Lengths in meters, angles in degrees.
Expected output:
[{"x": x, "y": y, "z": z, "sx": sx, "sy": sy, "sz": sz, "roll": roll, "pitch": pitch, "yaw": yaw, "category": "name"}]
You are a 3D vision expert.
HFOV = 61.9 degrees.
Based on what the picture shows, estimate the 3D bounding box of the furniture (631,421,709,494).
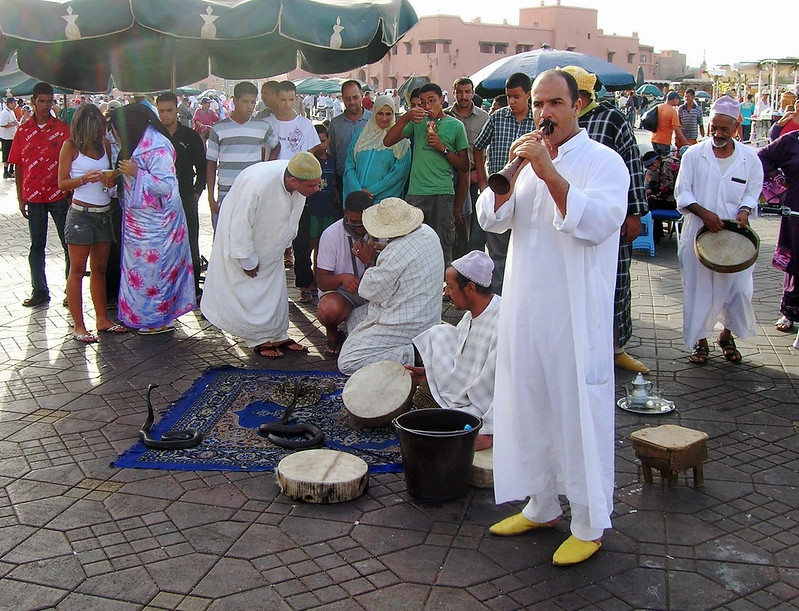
[{"x": 1.777, "y": 1.005, "z": 4.363, "sx": 0.434, "sy": 0.256, "sz": 0.427, "roll": -7, "pitch": 4, "yaw": -11, "category": "furniture"}]

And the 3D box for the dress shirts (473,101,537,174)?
[{"x": 0.989, "y": -1.903, "z": 7.607, "sx": 0.337, "sy": 0.731, "sz": 0.831, "roll": 21, "pitch": 16, "yaw": -13, "category": "dress shirts"}]

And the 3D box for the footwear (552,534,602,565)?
[{"x": 0.950, "y": 1.350, "z": 3.629, "sx": 0.283, "sy": 0.086, "sz": 0.120, "roll": -18, "pitch": 24, "yaw": -21, "category": "footwear"}]

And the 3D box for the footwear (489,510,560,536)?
[{"x": 0.747, "y": 1.295, "z": 3.926, "sx": 0.447, "sy": 0.100, "sz": 0.140, "roll": -1, "pitch": 1, "yaw": -9, "category": "footwear"}]

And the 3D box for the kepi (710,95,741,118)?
[{"x": 3.039, "y": -1.854, "z": 6.198, "sx": 0.233, "sy": 0.156, "sz": 0.280, "roll": 5, "pitch": 23, "yaw": 12, "category": "kepi"}]

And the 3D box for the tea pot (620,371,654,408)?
[{"x": 1.940, "y": 0.692, "z": 5.421, "sx": 0.336, "sy": 0.257, "sz": 0.198, "roll": -6, "pitch": 17, "yaw": -19, "category": "tea pot"}]

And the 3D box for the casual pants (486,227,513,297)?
[{"x": 1.035, "y": -0.500, "z": 7.359, "sx": 0.373, "sy": 0.307, "sz": 0.972, "roll": 7, "pitch": 58, "yaw": 3, "category": "casual pants"}]

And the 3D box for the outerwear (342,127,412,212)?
[{"x": -0.249, "y": -1.561, "z": 7.632, "sx": 0.784, "sy": 0.859, "sz": 0.535, "roll": 17, "pitch": 34, "yaw": 27, "category": "outerwear"}]

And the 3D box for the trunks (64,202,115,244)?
[{"x": -3.270, "y": -0.838, "z": 6.930, "sx": 0.414, "sy": 0.382, "sz": 0.503, "roll": 3, "pitch": 8, "yaw": 26, "category": "trunks"}]

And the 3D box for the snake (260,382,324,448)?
[{"x": -0.808, "y": 0.789, "z": 5.068, "sx": 0.493, "sy": 0.117, "sz": 0.696, "roll": 15, "pitch": 45, "yaw": -12, "category": "snake"}]

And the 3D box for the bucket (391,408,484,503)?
[{"x": 0.239, "y": 0.971, "z": 4.324, "sx": 0.587, "sy": 0.437, "sz": 0.601, "roll": 0, "pitch": 8, "yaw": 0, "category": "bucket"}]

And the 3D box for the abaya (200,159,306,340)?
[{"x": -1.477, "y": -0.494, "z": 6.532, "sx": 0.740, "sy": 1.738, "sz": 0.725, "roll": 11, "pitch": 21, "yaw": 33, "category": "abaya"}]

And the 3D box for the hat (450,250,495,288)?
[{"x": 0.565, "y": -0.271, "z": 4.879, "sx": 0.206, "sy": 0.239, "sz": 0.310, "roll": 40, "pitch": 3, "yaw": 13, "category": "hat"}]

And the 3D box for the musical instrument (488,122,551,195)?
[{"x": 0.646, "y": -0.811, "z": 3.653, "sx": 0.159, "sy": 0.146, "sz": 0.638, "roll": 43, "pitch": 44, "yaw": 0, "category": "musical instrument"}]

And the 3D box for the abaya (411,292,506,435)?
[{"x": 0.408, "y": 0.445, "z": 4.732, "sx": 0.588, "sy": 0.781, "sz": 0.819, "roll": -8, "pitch": 32, "yaw": -28, "category": "abaya"}]

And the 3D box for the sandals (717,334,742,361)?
[{"x": 3.151, "y": 0.411, "z": 6.382, "sx": 0.136, "sy": 0.092, "sz": 0.328, "roll": -16, "pitch": 37, "yaw": 17, "category": "sandals"}]

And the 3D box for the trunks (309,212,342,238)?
[{"x": -0.987, "y": -1.011, "z": 8.403, "sx": 0.424, "sy": 0.433, "sz": 0.279, "roll": 3, "pitch": 20, "yaw": -1, "category": "trunks"}]

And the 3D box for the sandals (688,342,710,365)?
[{"x": 2.808, "y": 0.460, "z": 6.260, "sx": 0.123, "sy": 0.083, "sz": 0.315, "roll": -2, "pitch": 13, "yaw": 22, "category": "sandals"}]

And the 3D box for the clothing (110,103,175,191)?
[{"x": -2.638, "y": -1.727, "z": 6.700, "sx": 0.496, "sy": 0.599, "sz": 0.374, "roll": -7, "pitch": 18, "yaw": -19, "category": "clothing"}]

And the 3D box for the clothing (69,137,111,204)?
[{"x": -3.132, "y": -1.383, "z": 6.807, "sx": 0.318, "sy": 0.326, "sz": 0.227, "roll": 8, "pitch": -27, "yaw": -23, "category": "clothing"}]

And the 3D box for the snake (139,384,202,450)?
[{"x": -1.776, "y": 0.880, "z": 5.120, "sx": 0.478, "sy": 0.385, "sz": 0.306, "roll": 2, "pitch": 16, "yaw": -6, "category": "snake"}]

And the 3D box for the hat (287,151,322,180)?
[{"x": -0.902, "y": -1.285, "z": 6.141, "sx": 0.298, "sy": 0.253, "sz": 0.239, "roll": -3, "pitch": 16, "yaw": -9, "category": "hat"}]

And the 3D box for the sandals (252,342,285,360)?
[{"x": -1.298, "y": 0.450, "z": 6.514, "sx": 0.296, "sy": 0.056, "sz": 0.133, "roll": 10, "pitch": 36, "yaw": 16, "category": "sandals"}]

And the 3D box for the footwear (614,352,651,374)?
[{"x": 2.107, "y": 0.537, "z": 6.079, "sx": 0.355, "sy": 0.238, "sz": 0.105, "roll": 8, "pitch": 56, "yaw": 27, "category": "footwear"}]

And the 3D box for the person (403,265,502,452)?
[{"x": 0.364, "y": 0.403, "z": 4.800, "sx": 0.893, "sy": 1.075, "sz": 1.288, "roll": -3, "pitch": 13, "yaw": -9, "category": "person"}]
